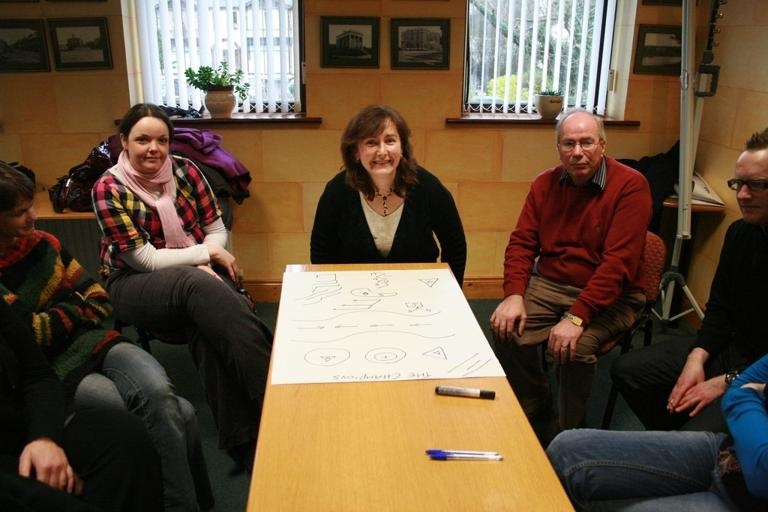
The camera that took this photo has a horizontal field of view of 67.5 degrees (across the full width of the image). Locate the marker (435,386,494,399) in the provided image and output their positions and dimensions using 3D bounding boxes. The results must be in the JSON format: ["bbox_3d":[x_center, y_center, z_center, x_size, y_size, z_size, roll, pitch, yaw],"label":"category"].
[{"bbox_3d":[0.279,0.484,2.030,0.152,0.030,0.029,5,1,1],"label":"marker"}]

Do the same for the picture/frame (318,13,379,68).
[{"bbox_3d":[-0.254,-1.558,4.096,0.335,0.284,0.033,1,16,-5],"label":"picture/frame"}]

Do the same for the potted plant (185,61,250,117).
[{"bbox_3d":[-1.262,-1.221,4.384,0.407,0.397,0.447,1,7,-3],"label":"potted plant"}]

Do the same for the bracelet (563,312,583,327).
[{"bbox_3d":[0.952,0.320,2.896,0.068,0.024,0.071,30,6,25],"label":"bracelet"}]

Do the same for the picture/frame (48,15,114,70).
[{"bbox_3d":[-2.154,-1.530,4.062,0.357,0.313,0.029,-1,14,-4],"label":"picture/frame"}]
